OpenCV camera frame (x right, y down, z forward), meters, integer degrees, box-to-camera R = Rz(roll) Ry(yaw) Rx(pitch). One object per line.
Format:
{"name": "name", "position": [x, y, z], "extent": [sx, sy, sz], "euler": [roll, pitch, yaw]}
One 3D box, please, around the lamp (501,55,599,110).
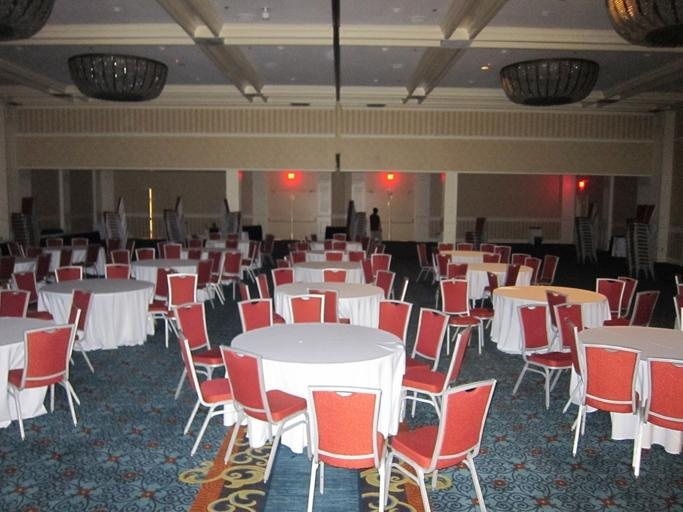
{"name": "lamp", "position": [3.422, -2.913, 8.568], "extent": [1.478, 0.747, 0.525], "euler": [-1, 6, 19]}
